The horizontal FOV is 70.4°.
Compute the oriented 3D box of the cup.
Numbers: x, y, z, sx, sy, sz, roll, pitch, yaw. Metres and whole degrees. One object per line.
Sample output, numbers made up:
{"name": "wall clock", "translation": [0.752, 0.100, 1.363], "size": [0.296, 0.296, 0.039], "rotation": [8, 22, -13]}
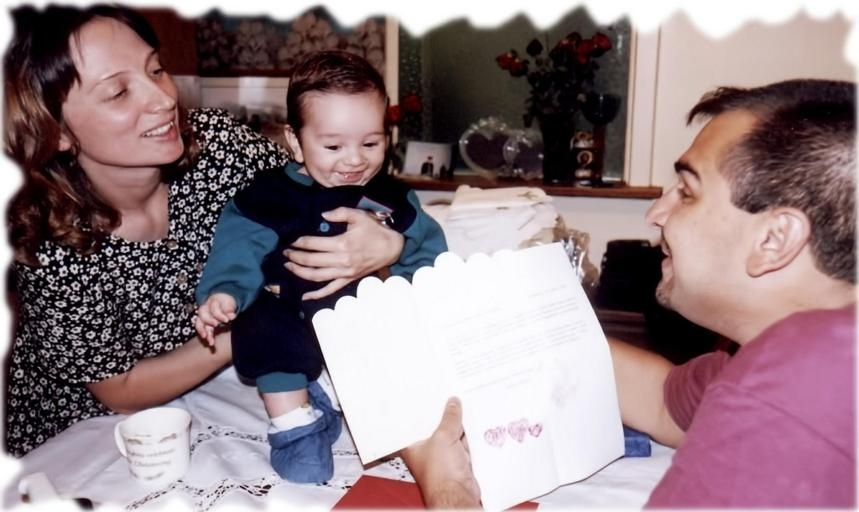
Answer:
{"name": "cup", "translation": [-0.818, 0.575, 1.818], "size": [0.242, 0.153, 0.190], "rotation": [2, 3, 20]}

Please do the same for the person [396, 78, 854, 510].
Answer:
{"name": "person", "translation": [0.675, 0.117, 2.042], "size": [1.610, 1.399, 0.459], "rotation": [-6, -27, 18]}

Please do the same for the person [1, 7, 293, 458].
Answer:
{"name": "person", "translation": [-1.062, -0.081, 2.113], "size": [0.983, 1.469, 0.628], "rotation": [-14, 25, -33]}
